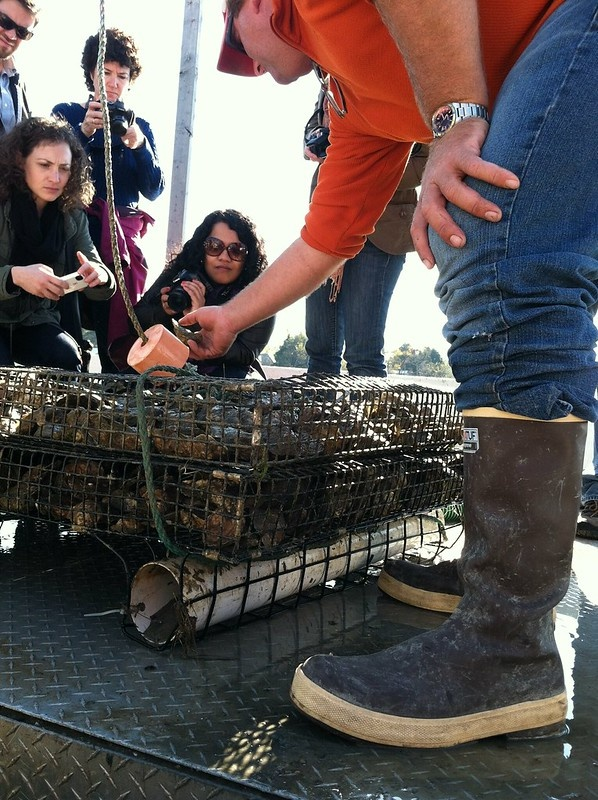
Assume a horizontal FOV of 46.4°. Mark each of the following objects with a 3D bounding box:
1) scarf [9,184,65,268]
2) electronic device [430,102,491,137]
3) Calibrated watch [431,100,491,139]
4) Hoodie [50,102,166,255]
[{"bbox_3d":[-1.009,-0.661,2.679,0.129,0.246,0.246,1,1,45],"label":"scarf"},{"bbox_3d":[0.199,-0.336,0.863,0.058,0.031,0.058,-10,7,-24],"label":"electronic device"},{"bbox_3d":[0.199,-0.338,0.862,0.058,0.031,0.058,-10,8,-27],"label":"Calibrated watch"},{"bbox_3d":[-0.956,-1.042,3.337,0.631,0.673,0.426,0,2,-12],"label":"Hoodie"}]
